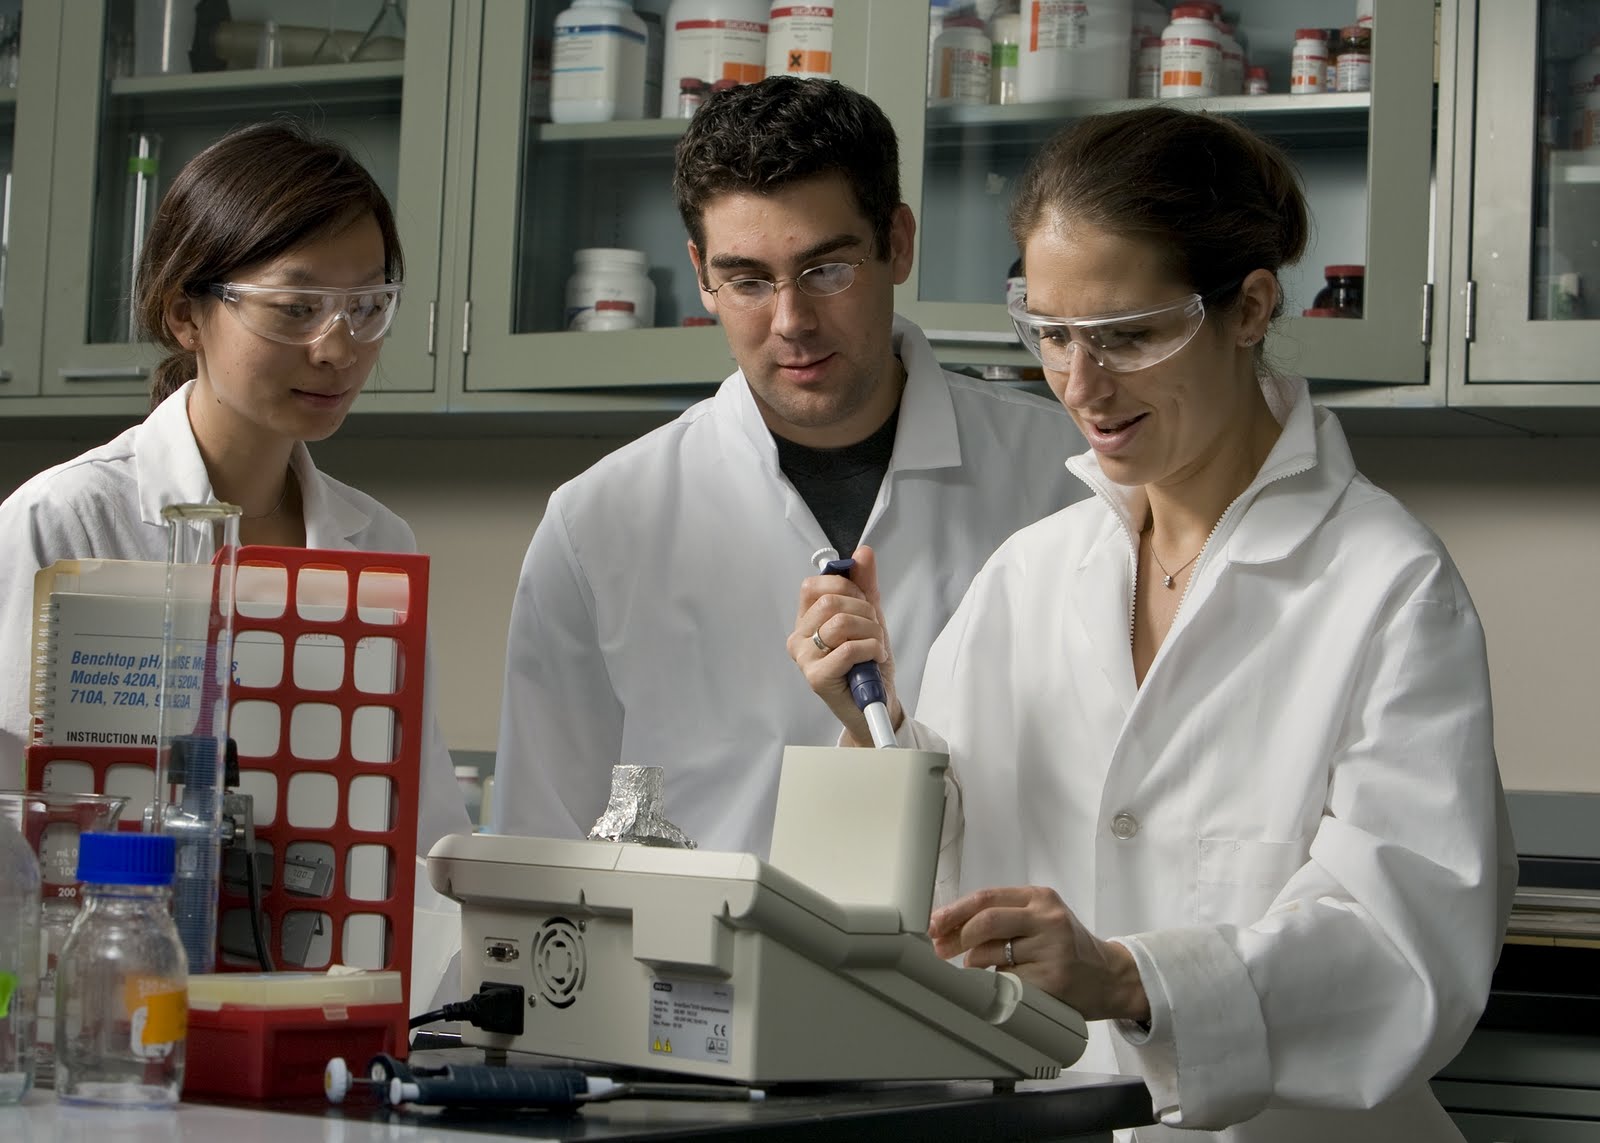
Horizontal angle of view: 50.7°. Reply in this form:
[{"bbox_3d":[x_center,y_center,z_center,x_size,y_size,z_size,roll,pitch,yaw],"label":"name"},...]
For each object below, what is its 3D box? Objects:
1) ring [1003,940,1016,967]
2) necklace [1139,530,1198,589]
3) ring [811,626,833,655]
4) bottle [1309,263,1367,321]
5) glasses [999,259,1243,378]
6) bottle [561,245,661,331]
[{"bbox_3d":[0.201,0.364,1.614,0.007,0.019,0.014,-4,2,11],"label":"ring"},{"bbox_3d":[0.447,-0.016,2.061,0.015,0.058,0.057,10,5,-38],"label":"necklace"},{"bbox_3d":[0.026,0.080,1.923,0.010,0.026,0.019,-23,23,-26],"label":"ring"},{"bbox_3d":[0.962,-0.492,3.031,0.095,0.094,0.097,1,-2,4],"label":"bottle"},{"bbox_3d":[0.352,-0.263,1.917,0.218,0.103,0.102,-2,0,11],"label":"glasses"},{"bbox_3d":[-0.369,-0.551,3.328,0.185,0.206,0.141,0,-13,2],"label":"bottle"}]
